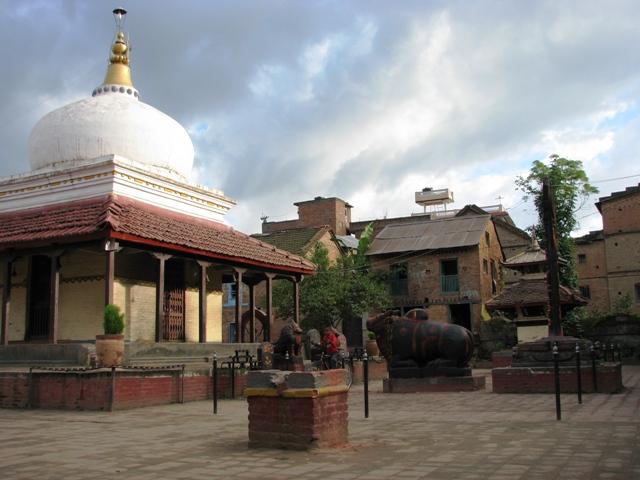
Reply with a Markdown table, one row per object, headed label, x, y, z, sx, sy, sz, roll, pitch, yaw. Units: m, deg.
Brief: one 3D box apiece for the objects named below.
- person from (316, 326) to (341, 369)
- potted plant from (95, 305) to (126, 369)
| label | x | y | z | sx | sy | sz | roll | pitch | yaw |
| --- | --- | --- | --- | --- | --- | --- | --- | --- | --- |
| person | 0.274 | 2.747 | 16.468 | 0.572 | 1.095 | 1.302 | -6 | -13 | 1 |
| potted plant | -4.655 | 2.073 | 14.125 | 0.607 | 1.435 | 1.055 | -1 | -14 | -18 |
